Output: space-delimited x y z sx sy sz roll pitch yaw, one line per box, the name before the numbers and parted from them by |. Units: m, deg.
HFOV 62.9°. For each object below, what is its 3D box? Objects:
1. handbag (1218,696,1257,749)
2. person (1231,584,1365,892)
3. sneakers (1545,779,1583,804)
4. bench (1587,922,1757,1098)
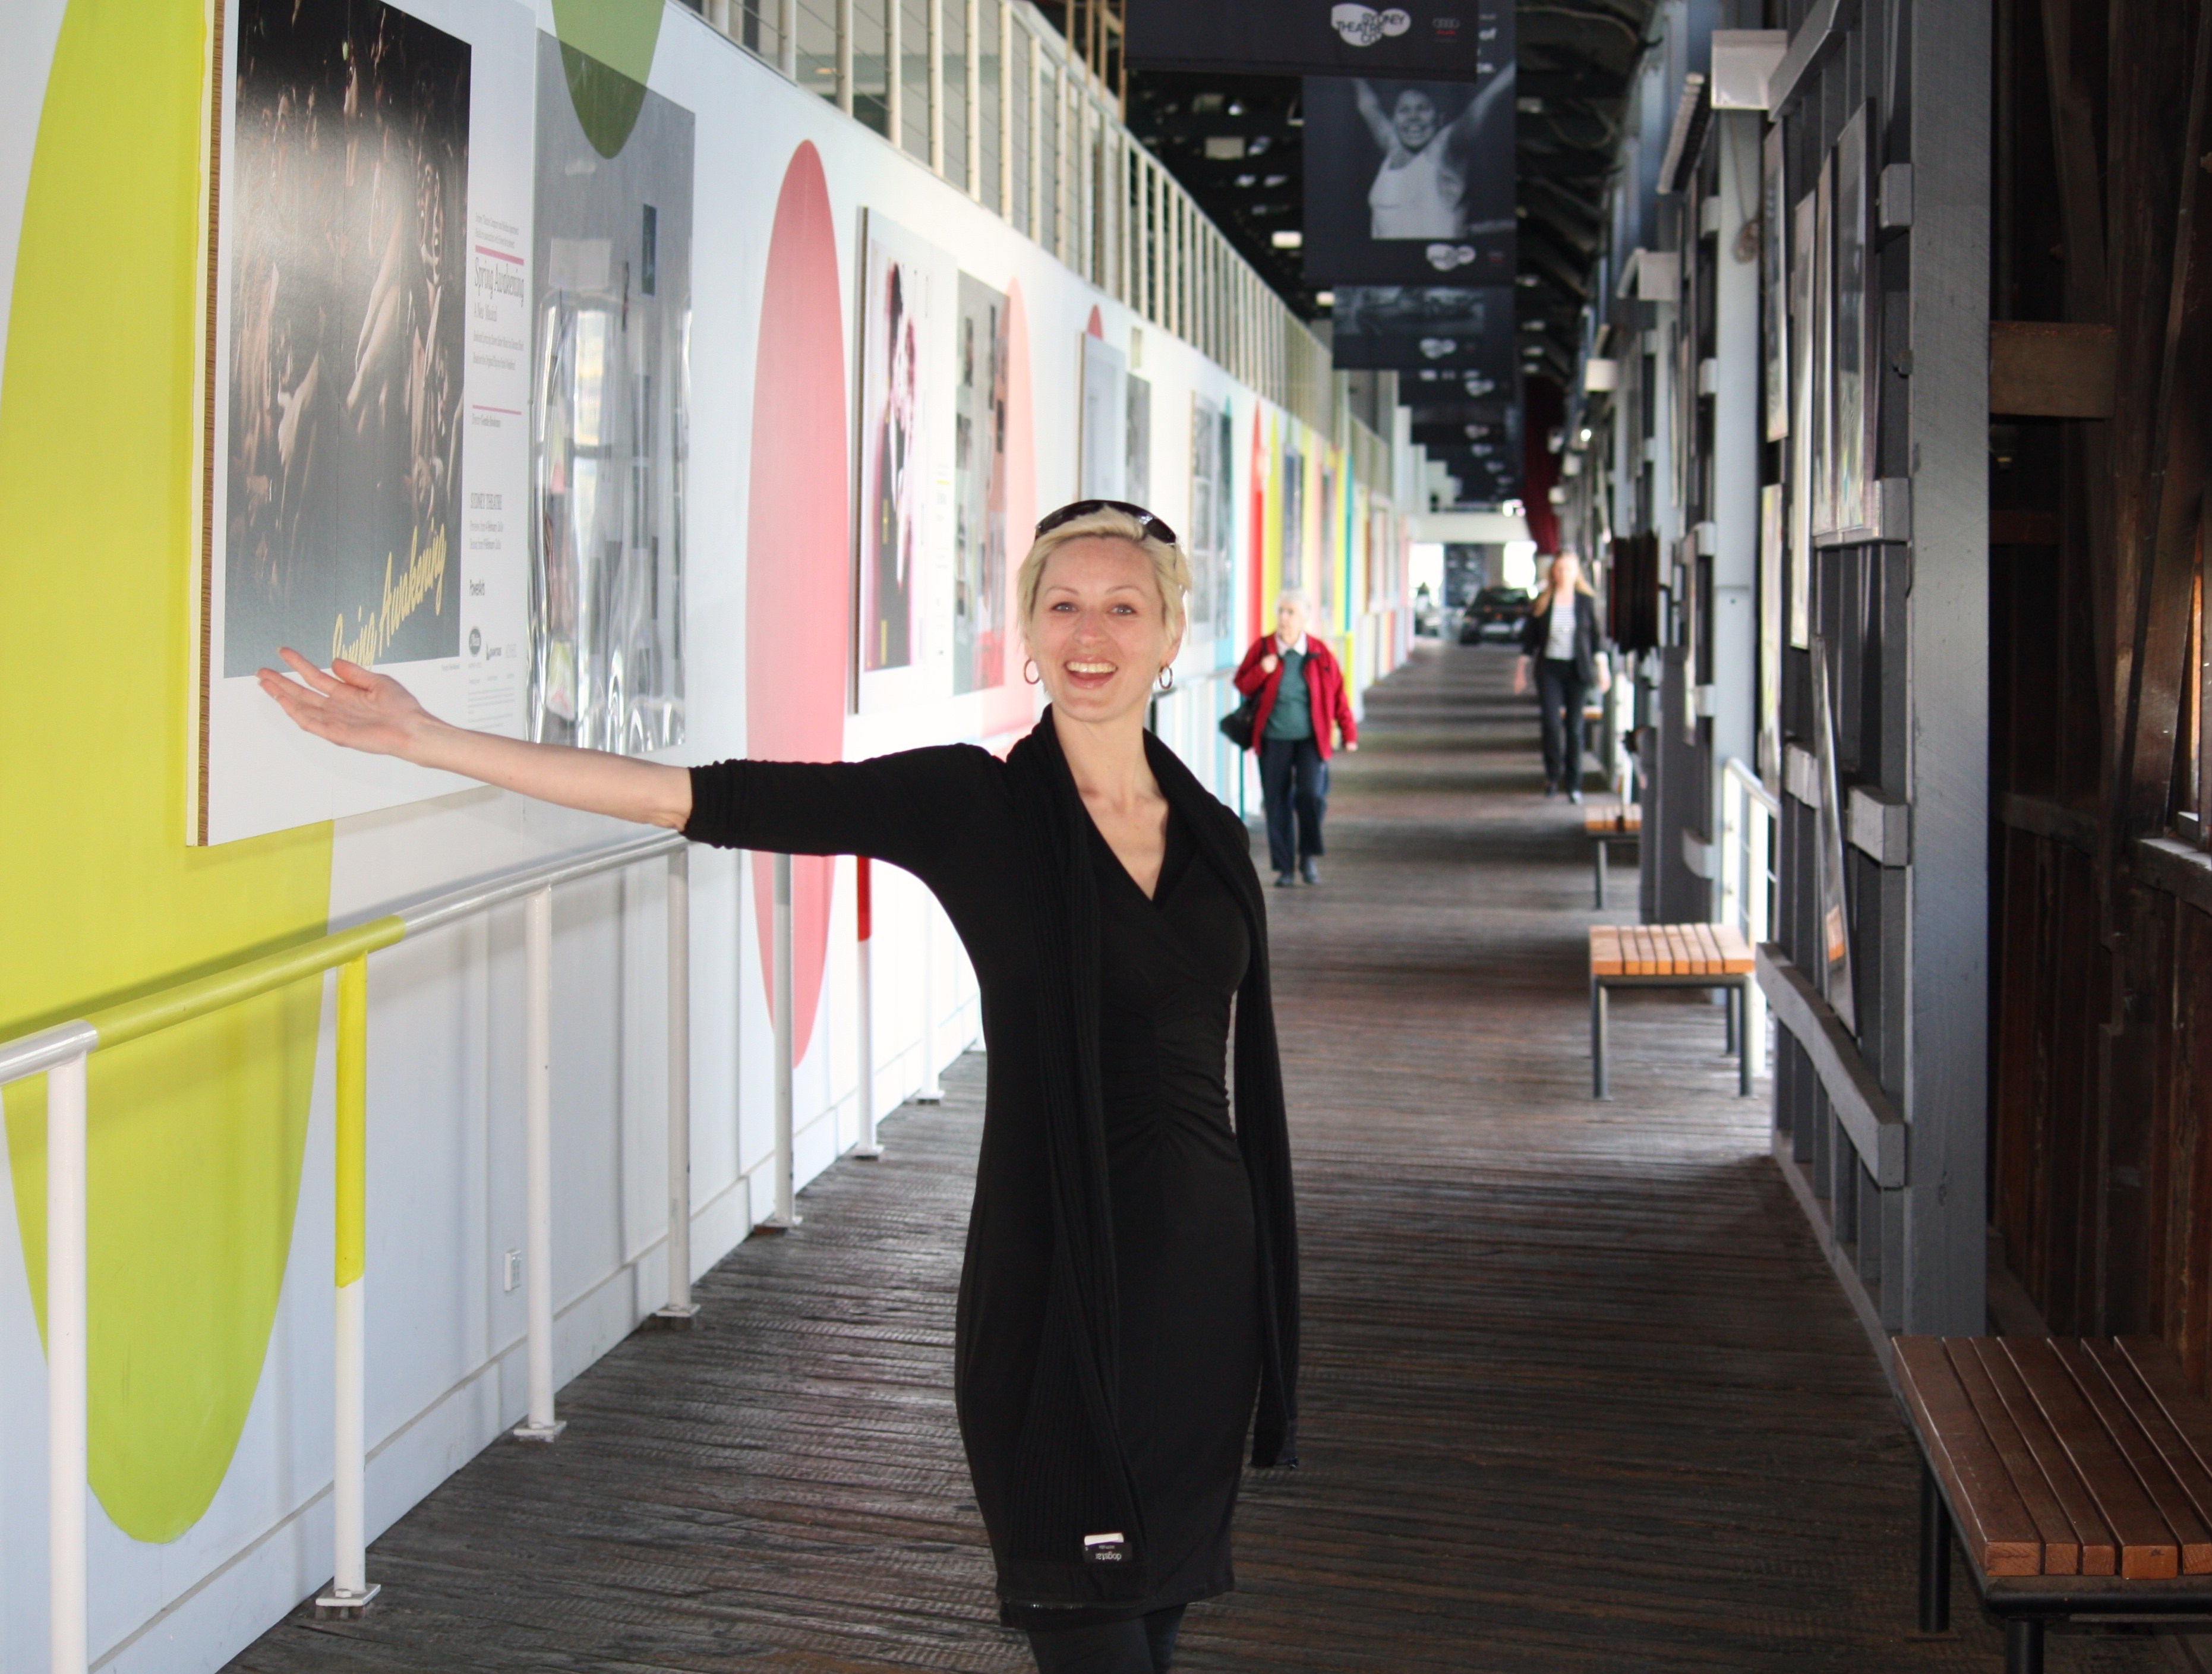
handbag | 0.962 -0.852 13.239 0.164 0.369 0.318 -3 23 -32
person | 1.319 -0.698 12.512 0.712 2.033 0.524 1 21 9
sneakers | 4.281 -0.453 16.929 0.476 0.244 0.161 1 6 -26
bench | 2.304 0.723 7.432 0.593 0.599 0.649 -2 7 15
